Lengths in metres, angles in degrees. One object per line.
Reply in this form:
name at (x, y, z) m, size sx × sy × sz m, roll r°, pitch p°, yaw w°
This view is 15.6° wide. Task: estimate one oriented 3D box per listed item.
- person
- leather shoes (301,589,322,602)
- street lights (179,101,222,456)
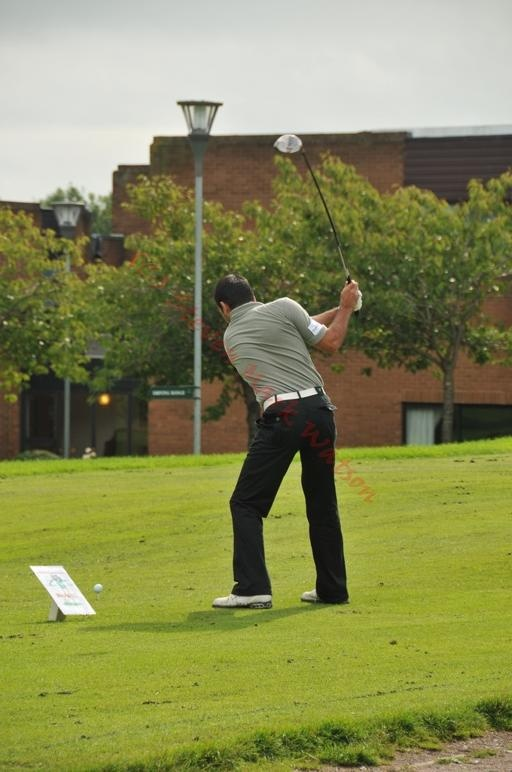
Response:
person at (0.126, 0.317, 10.932) m, size 0.809 × 1.901 × 0.590 m, roll 0°, pitch -1°, yaw -15°
leather shoes at (0.316, 1.206, 10.737) m, size 0.106 × 0.076 × 0.052 m, roll 6°, pitch -2°, yaw 27°
street lights at (-0.913, -1.370, 31.190) m, size 0.581 × 7.076 × 0.439 m, roll -4°, pitch 1°, yaw 42°
